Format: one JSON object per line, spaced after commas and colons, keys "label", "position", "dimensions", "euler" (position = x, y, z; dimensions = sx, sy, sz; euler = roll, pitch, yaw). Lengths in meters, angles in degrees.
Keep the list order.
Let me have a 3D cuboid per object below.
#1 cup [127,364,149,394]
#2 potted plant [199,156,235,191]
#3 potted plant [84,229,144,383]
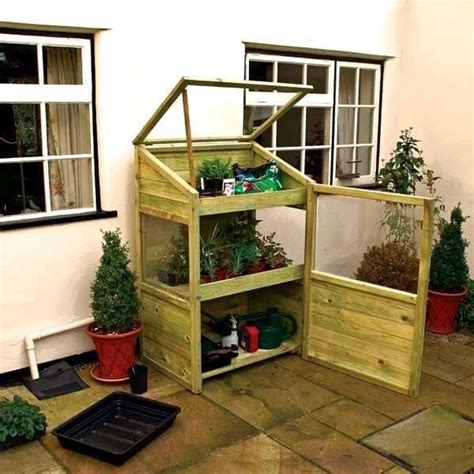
{"label": "cup", "position": [-0.638, 0.908, 2.828], "dimensions": [0.119, 0.174, 0.192], "euler": [0, 8, -11]}
{"label": "potted plant", "position": [-0.193, -0.481, 3.314], "dimensions": [0.329, 0.277, 0.292], "euler": [-11, 15, -39]}
{"label": "potted plant", "position": [-0.824, 0.470, 2.929], "dimensions": [0.356, 1.018, 0.507], "euler": [-1, 9, -15]}
